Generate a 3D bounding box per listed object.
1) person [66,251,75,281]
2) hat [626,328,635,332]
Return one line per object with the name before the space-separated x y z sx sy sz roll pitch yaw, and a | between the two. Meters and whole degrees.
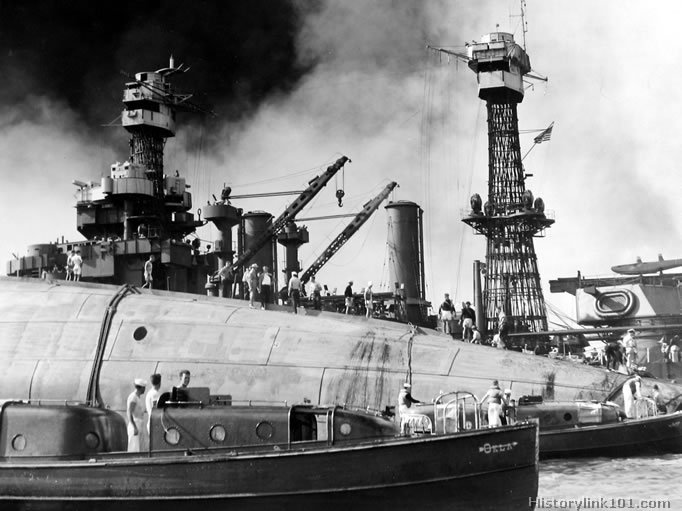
person | -13.509 0.482 68.646 0.428 1.417 0.255 -2 -11 16
hat | 14.548 3.707 69.361 0.335 0.176 0.437 1 2 9
